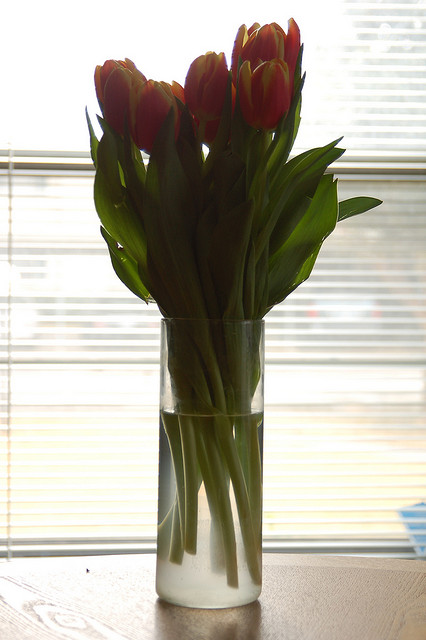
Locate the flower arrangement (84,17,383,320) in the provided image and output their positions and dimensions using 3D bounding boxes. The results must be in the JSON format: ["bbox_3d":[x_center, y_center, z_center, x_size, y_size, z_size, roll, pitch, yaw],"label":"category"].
[{"bbox_3d":[0.024,-0.095,0.688,0.207,0.338,0.222,-1,5,3],"label":"flower arrangement"}]
